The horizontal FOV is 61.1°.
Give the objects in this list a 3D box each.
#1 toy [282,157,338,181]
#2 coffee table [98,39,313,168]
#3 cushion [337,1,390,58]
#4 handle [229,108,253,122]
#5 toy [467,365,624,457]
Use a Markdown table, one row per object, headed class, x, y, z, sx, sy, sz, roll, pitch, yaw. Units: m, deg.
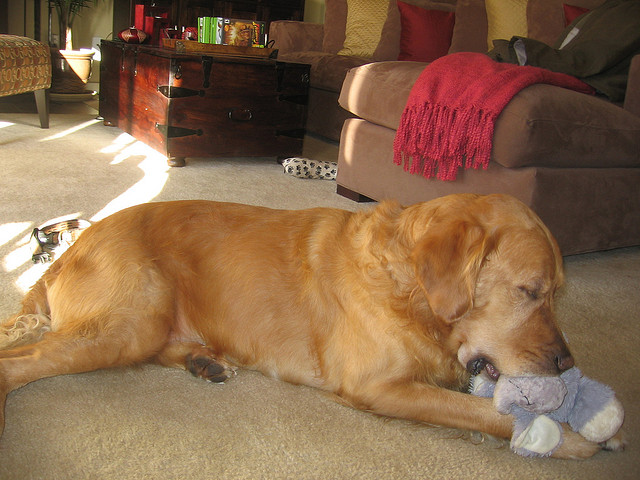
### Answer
| class | x | y | z | sx | sy | sz | roll | pitch | yaw |
| --- | --- | --- | --- | --- | --- | --- | --- | --- | --- |
| toy | -0.059 | -0.458 | 3.441 | 0.463 | 0.117 | 0.126 | 2 | 9 | -3 |
| coffee table | -1.084 | -1.001 | 4.197 | 1.803 | 0.924 | 1.153 | -7 | 21 | -33 |
| cushion | 0.379 | -1.949 | 4.980 | 0.431 | 0.567 | 0.535 | -10 | 24 | -33 |
| handle | -0.523 | -0.829 | 3.563 | 0.159 | 0.090 | 0.021 | -9 | 28 | -34 |
| toy | 0.554 | 0.423 | 1.284 | 0.287 | 0.244 | 0.125 | -1 | 24 | -17 |
